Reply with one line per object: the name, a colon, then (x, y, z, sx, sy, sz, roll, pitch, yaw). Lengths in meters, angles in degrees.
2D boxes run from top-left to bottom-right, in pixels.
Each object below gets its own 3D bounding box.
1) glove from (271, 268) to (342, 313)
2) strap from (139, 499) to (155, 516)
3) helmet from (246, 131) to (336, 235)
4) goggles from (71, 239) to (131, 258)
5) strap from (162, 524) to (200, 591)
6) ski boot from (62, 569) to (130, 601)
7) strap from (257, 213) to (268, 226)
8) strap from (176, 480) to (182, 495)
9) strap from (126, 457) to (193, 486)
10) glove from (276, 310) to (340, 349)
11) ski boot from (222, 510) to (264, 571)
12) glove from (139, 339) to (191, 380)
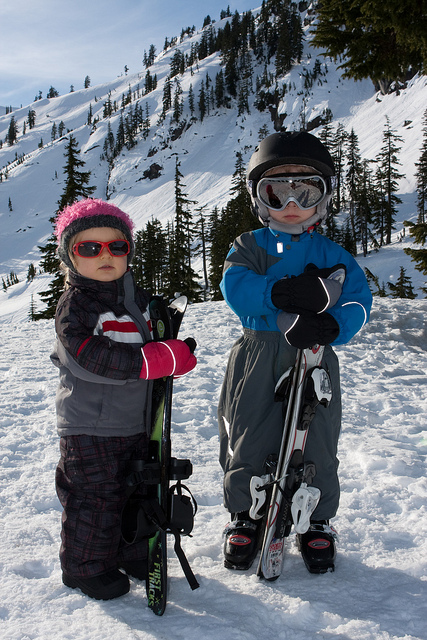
glove: (0.518, -0.135, 3.177, 0.423, 0.299, 0.165, 1, 34, 19)
strap: (-0.313, 0.903, 2.948, 0.043, 0.080, 0.019, -33, -8, -17)
helmet: (0.456, -0.697, 3.587, 0.493, 0.501, 0.555, -5, -1, -11)
goggles: (-0.580, -0.373, 3.210, 0.310, 0.097, 0.153, -1, 6, -13)
strap: (-0.173, 1.253, 3.212, 0.073, 0.417, 0.092, -18, -11, -45)
ski boot: (-0.594, 1.311, 3.111, 0.310, 0.136, 0.121, -2, -1, 30)
strap: (0.278, -0.572, 3.529, 0.036, 0.073, 0.052, -48, 29, -15)
strap: (-0.171, 0.844, 3.085, 0.039, 0.058, 0.016, -4, -17, 3)
strap: (-0.263, 0.726, 3.037, 0.228, 0.076, 0.148, -4, -3, -31)
glove: (0.488, 0.052, 3.126, 0.326, 0.199, 0.165, 1, 6, 3)
ski boot: (0.176, 1.191, 3.491, 0.240, 0.213, 0.496, 4, 13, 12)
glove: (-0.233, 0.188, 3.025, 0.295, 0.174, 0.105, -4, 8, -38)
